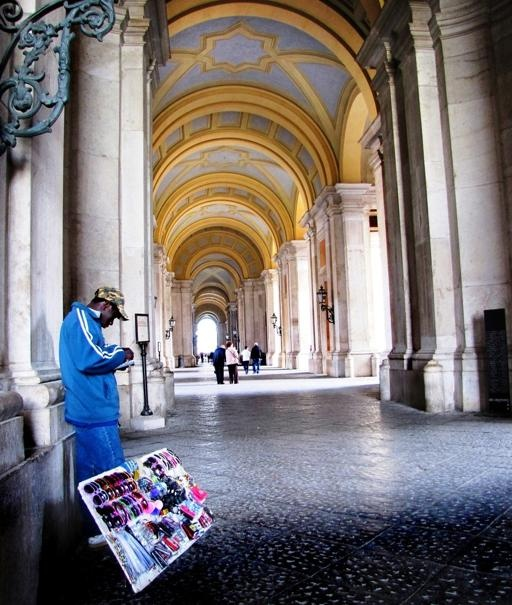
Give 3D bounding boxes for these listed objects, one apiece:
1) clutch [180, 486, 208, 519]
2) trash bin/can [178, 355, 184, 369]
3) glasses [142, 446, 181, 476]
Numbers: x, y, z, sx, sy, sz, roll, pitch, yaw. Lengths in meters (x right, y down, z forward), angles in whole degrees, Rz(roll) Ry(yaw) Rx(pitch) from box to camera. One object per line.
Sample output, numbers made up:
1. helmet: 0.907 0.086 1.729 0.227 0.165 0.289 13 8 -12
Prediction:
1. clutch: -0.281 0.925 2.351 0.042 0.087 0.114 -32 15 -7
2. trash bin/can: -5.937 4.615 40.352 0.413 0.938 1.084 -1 -6 -8
3. glasses: -0.427 0.725 2.331 0.091 0.035 0.127 42 21 19
